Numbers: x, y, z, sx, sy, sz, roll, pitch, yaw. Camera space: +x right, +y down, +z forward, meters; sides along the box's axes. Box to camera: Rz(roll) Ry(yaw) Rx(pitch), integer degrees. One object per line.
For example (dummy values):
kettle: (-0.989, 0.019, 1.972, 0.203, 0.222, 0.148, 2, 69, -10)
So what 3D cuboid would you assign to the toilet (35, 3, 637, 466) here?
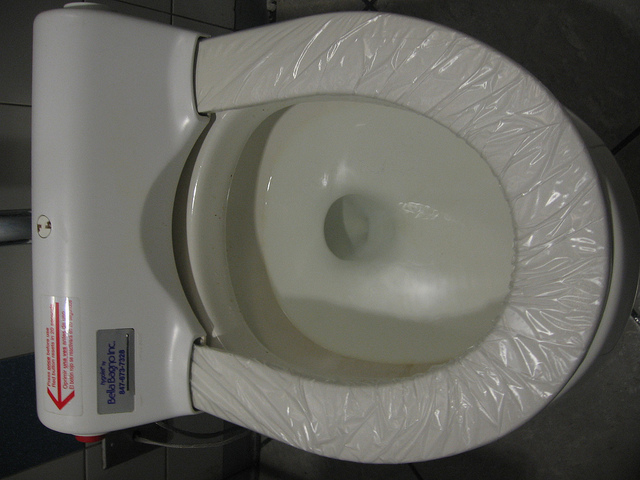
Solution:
toilet: (0.108, -0.013, 1.598, 1.106, 0.758, 1.046, 2, 89, 16)
